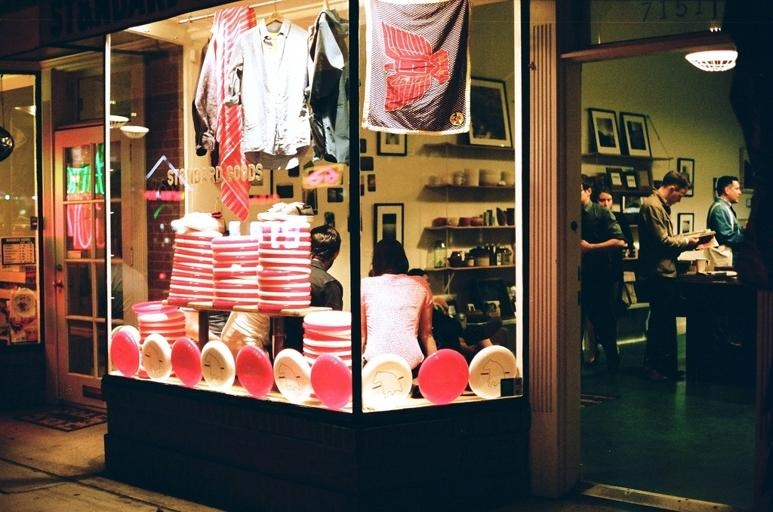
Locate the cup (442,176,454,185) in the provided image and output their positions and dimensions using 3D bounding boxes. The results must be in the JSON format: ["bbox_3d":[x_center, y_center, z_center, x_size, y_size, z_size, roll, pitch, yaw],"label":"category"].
[{"bbox_3d":[0.484,-0.590,5.697,0.063,0.064,0.065,-2,7,0],"label":"cup"}]

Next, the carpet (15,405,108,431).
[{"bbox_3d":[-3.456,1.729,7.829,1.083,0.029,0.608,3,10,30],"label":"carpet"}]

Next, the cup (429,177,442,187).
[{"bbox_3d":[0.381,-0.581,5.660,0.075,0.058,0.077,0,-3,0],"label":"cup"}]

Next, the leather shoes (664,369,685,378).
[{"bbox_3d":[3.436,1.412,8.641,0.205,0.070,0.130,-3,1,6],"label":"leather shoes"}]

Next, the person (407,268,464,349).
[{"bbox_3d":[0.349,0.431,5.748,0.287,1.062,0.292,12,44,17],"label":"person"}]

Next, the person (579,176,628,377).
[{"bbox_3d":[2.706,0.247,9.064,0.490,2.354,1.328,1,7,17],"label":"person"}]

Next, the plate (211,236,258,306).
[{"bbox_3d":[-1.239,0.129,5.985,0.497,0.592,0.510,-1,0,11],"label":"plate"}]

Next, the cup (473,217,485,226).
[{"bbox_3d":[0.738,-0.261,5.769,0.070,0.075,0.077,2,-11,0],"label":"cup"}]

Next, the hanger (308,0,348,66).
[{"bbox_3d":[-0.473,-1.688,5.715,0.378,0.486,0.133,4,8,37],"label":"hanger"}]

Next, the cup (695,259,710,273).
[{"bbox_3d":[3.805,0.125,8.763,0.204,0.196,0.137,0,-3,-5],"label":"cup"}]

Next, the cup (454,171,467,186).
[{"bbox_3d":[0.585,-0.609,5.723,0.117,0.089,0.074,5,-5,-34],"label":"cup"}]

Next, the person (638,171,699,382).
[{"bbox_3d":[3.234,0.260,8.445,0.586,2.428,0.369,1,7,18],"label":"person"}]

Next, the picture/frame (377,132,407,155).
[{"bbox_3d":[0.033,-0.855,5.521,0.172,0.177,0.012,0,-3,-34],"label":"picture/frame"}]

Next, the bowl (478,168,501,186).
[{"bbox_3d":[0.827,-0.621,5.758,0.139,0.096,0.140,0,2,0],"label":"bowl"}]

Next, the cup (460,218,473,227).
[{"bbox_3d":[0.635,-0.267,5.724,0.139,0.075,0.034,-5,7,-22],"label":"cup"}]

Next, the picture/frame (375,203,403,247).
[{"bbox_3d":[0.011,-0.244,5.498,0.312,0.447,0.016,1,-1,-34],"label":"picture/frame"}]

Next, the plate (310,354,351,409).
[{"bbox_3d":[-0.407,0.951,5.503,0.350,0.392,0.096,4,8,35],"label":"plate"}]

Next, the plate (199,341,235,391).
[{"bbox_3d":[-1.381,0.915,5.976,0.383,0.445,0.148,0,0,40],"label":"plate"}]

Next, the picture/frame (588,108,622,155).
[{"bbox_3d":[3.098,-1.774,10.381,0.029,0.701,0.589,-11,3,41],"label":"picture/frame"}]

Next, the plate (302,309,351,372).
[{"bbox_3d":[-0.465,0.662,5.632,0.377,0.339,0.377,1,-1,-30],"label":"plate"}]

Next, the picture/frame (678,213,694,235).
[{"bbox_3d":[4.594,-0.490,11.181,0.337,0.470,0.048,-2,0,-33],"label":"picture/frame"}]

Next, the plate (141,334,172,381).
[{"bbox_3d":[-1.983,0.894,6.299,0.376,0.435,0.140,1,0,40],"label":"plate"}]

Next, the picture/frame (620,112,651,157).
[{"bbox_3d":[3.654,-1.784,10.728,0.596,0.724,0.054,-8,4,-41],"label":"picture/frame"}]

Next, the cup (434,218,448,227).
[{"bbox_3d":[0.428,-0.262,5.653,0.070,0.056,0.073,0,5,0],"label":"cup"}]

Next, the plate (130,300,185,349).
[{"bbox_3d":[-2.021,0.593,6.448,0.394,0.301,0.354,2,-4,-35],"label":"plate"}]

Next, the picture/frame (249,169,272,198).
[{"bbox_3d":[-1.048,-0.617,6.136,0.224,0.231,0.124,0,-2,38],"label":"picture/frame"}]

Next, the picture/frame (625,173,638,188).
[{"bbox_3d":[3.606,-1.099,10.684,0.204,0.199,0.049,0,-3,-31],"label":"picture/frame"}]

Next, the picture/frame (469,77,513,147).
[{"bbox_3d":[0.814,-1.155,5.735,0.510,0.652,0.042,-2,6,-22],"label":"picture/frame"}]

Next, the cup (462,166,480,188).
[{"bbox_3d":[0.681,-0.614,5.741,0.119,0.145,0.135,1,-2,24],"label":"cup"}]
